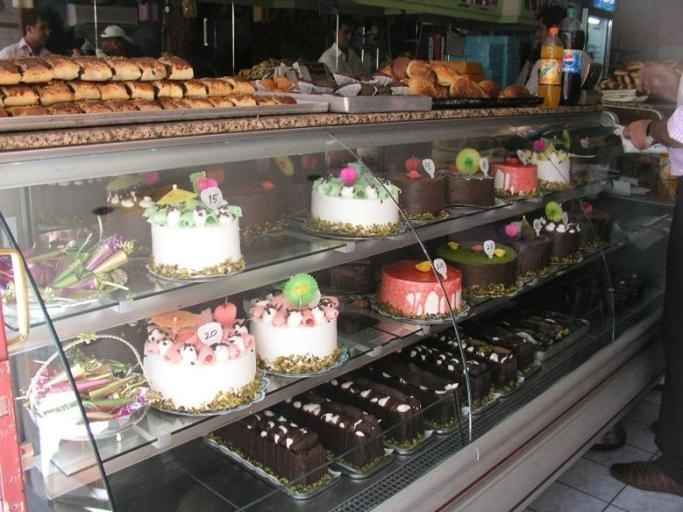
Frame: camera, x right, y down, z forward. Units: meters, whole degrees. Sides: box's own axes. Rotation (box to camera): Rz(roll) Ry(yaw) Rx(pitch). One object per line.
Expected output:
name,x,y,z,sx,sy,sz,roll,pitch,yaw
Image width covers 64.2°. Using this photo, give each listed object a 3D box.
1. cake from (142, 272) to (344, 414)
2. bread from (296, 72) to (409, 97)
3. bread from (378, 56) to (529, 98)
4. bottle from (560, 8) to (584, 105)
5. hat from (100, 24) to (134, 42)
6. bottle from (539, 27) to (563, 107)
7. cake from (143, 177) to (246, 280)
cake,-0.299,0.235,1.614,0.562,0.214,0.281,-9,18,-42
bread,0.038,-0.627,2.008,0.348,0.084,0.244,-20,28,-37
bread,0.464,-0.750,2.334,0.425,0.197,0.824,12,26,32
bottle,1.163,-0.989,2.763,0.134,0.426,0.335,6,26,19
hat,-1.718,-1.695,4.142,0.166,0.067,0.093,0,31,-12
bottle,1.015,-0.908,2.627,0.113,0.363,0.285,5,26,19
cake,-0.425,-0.081,1.538,0.286,0.214,0.257,2,12,-12
